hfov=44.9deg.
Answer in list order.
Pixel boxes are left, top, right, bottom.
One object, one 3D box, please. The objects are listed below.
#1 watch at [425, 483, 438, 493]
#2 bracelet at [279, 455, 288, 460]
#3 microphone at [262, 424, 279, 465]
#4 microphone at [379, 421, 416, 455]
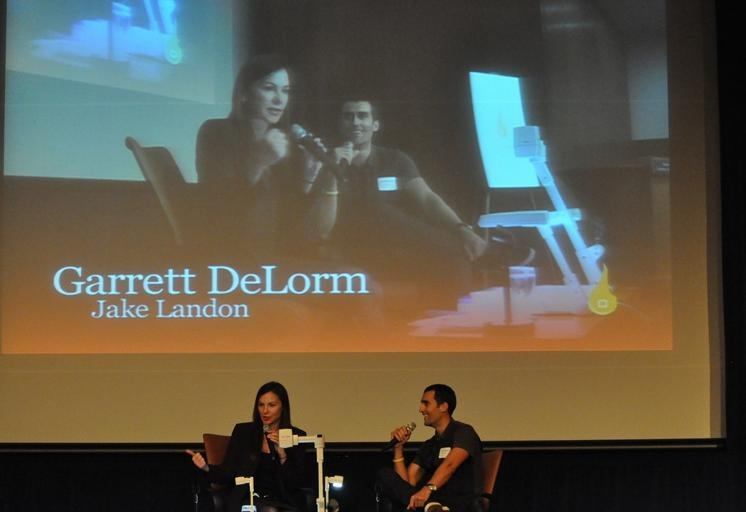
[{"bbox_3d":[0.418,1.693,6.587,0.056,0.042,0.074,19,-3,26],"label":"watch"},{"bbox_3d":[-0.684,1.513,6.774,0.028,0.036,0.038,-1,1,42],"label":"bracelet"},{"bbox_3d":[-0.778,1.400,6.730,0.085,0.363,0.094,-10,7,13],"label":"microphone"},{"bbox_3d":[0.180,1.442,7.183,0.109,0.121,0.441,21,-48,-27],"label":"microphone"}]
